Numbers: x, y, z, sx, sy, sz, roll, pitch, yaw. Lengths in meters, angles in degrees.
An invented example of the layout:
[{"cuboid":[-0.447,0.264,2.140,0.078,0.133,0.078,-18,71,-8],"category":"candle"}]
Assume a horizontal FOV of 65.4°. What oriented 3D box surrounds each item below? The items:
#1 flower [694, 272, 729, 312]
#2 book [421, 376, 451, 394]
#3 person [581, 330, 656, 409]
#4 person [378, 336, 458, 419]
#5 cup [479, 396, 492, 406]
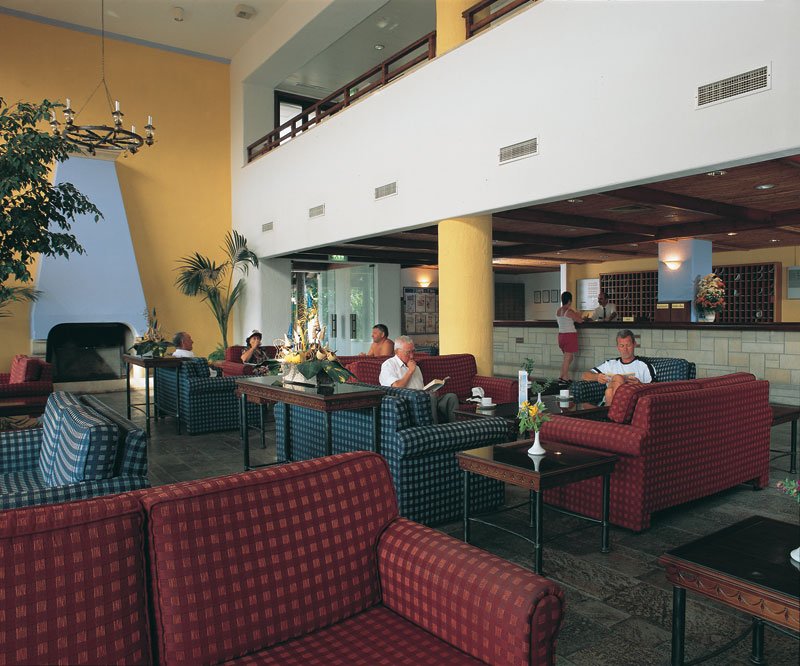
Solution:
[{"cuboid":[5.082,-0.675,10.251,0.376,0.631,0.493,-1,1,35],"category":"flower"},{"cuboid":[0.306,0.441,5.539,0.232,0.070,0.165,-27,-22,23],"category":"book"},{"cuboid":[2.002,0.404,5.765,0.608,0.751,0.668,0,8,42],"category":"person"},{"cuboid":[0.130,0.500,5.453,0.468,0.794,0.594,-3,4,-42],"category":"person"},{"cuboid":[0.743,0.588,5.377,0.097,0.058,0.067,-3,0,1],"category":"cup"}]
